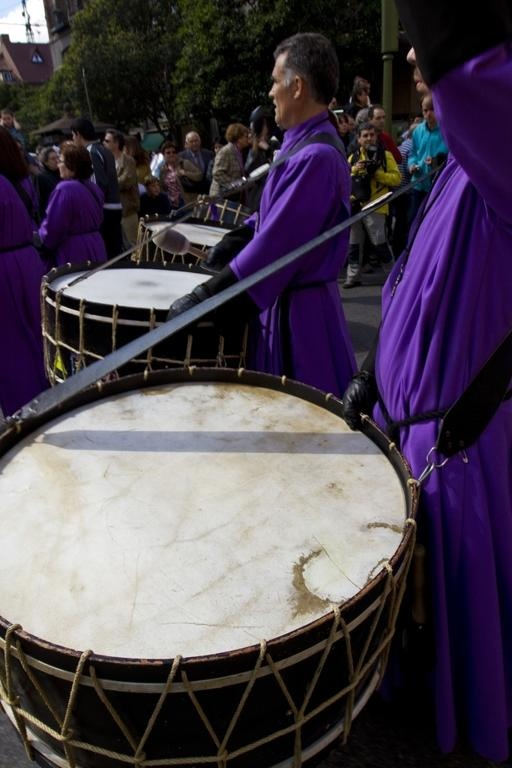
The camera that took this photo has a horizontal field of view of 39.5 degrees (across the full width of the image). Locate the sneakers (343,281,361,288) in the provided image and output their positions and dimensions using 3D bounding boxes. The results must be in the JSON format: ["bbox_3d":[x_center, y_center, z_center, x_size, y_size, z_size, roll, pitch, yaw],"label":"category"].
[{"bbox_3d":[0.881,-0.919,6.582,0.180,0.069,0.058,-14,13,-34],"label":"sneakers"}]

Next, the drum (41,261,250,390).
[{"bbox_3d":[-0.414,-0.231,2.403,0.607,0.487,0.577,-7,26,-19],"label":"drum"}]

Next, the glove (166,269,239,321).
[{"bbox_3d":[-0.151,-0.249,1.908,0.161,0.105,0.182,2,18,20],"label":"glove"}]

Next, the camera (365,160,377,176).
[{"bbox_3d":[0.947,-1.781,5.852,0.086,0.108,0.090,3,-10,7],"label":"camera"}]
